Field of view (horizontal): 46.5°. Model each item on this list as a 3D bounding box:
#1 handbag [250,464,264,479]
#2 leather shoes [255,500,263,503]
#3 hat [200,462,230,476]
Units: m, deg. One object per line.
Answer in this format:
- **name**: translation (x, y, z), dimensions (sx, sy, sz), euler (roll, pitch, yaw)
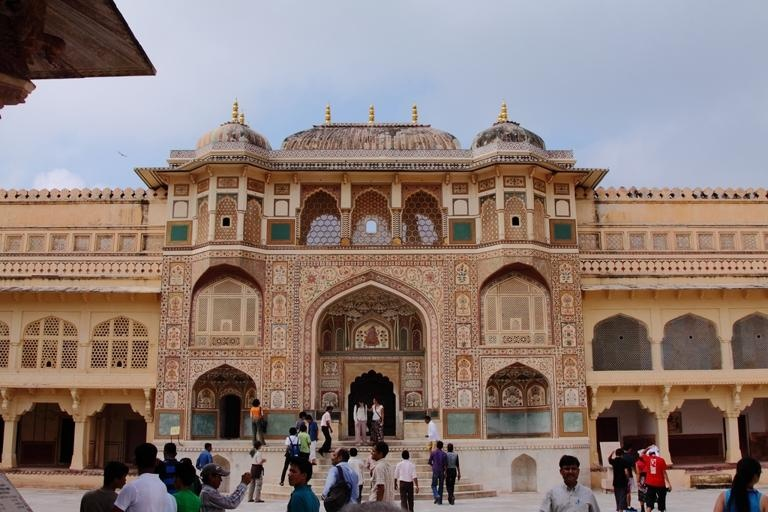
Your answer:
- **handbag**: translation (-3.054, 5.215, 21.687), dimensions (0.242, 0.337, 0.530), euler (1, -14, -9)
- **leather shoes**: translation (-3.010, 5.963, 21.789), dimensions (0.193, 0.071, 0.061), euler (2, -6, -12)
- **hat**: translation (-2.599, 3.296, 13.828), dimensions (0.506, 0.181, 0.309), euler (8, -11, -9)
